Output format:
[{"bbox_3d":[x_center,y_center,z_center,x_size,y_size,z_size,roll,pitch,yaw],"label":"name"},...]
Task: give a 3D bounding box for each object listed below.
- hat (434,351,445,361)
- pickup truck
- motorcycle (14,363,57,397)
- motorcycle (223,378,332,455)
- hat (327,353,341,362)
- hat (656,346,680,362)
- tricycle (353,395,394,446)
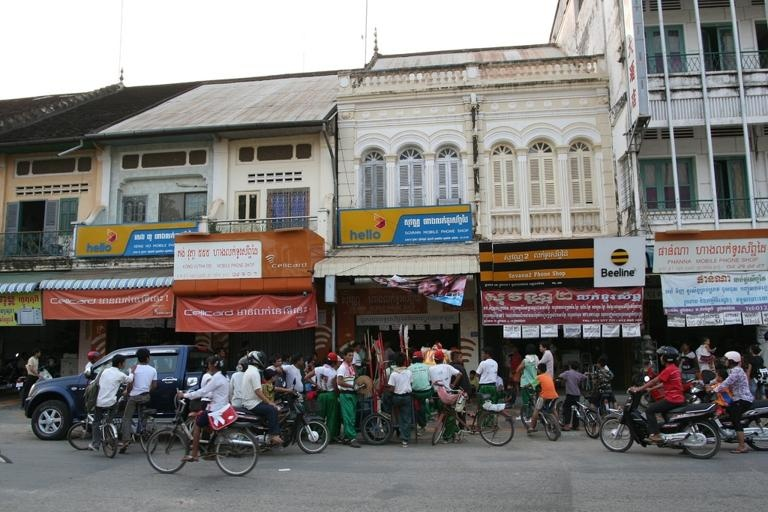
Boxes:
[{"bbox_3d":[1.535,2.801,27.309,0.276,0.300,0.347,0,-8,3],"label":"hat"},{"bbox_3d":[-7.736,3.911,28.667,6.308,2.444,2.299,0,-3,-4],"label":"pickup truck"},{"bbox_3d":[-11.095,3.910,30.822,1.095,1.479,0.574,1,17,-19],"label":"motorcycle"},{"bbox_3d":[-2.679,4.411,25.429,2.380,1.482,1.300,-3,-9,-9],"label":"motorcycle"},{"bbox_3d":[-1.416,2.829,27.191,0.334,0.258,0.652,1,-8,-5],"label":"hat"},{"bbox_3d":[7.552,2.601,25.878,0.398,0.412,1.117,-1,-8,11],"label":"hat"},{"bbox_3d":[-0.190,4.574,27.297,1.254,1.152,1.223,-7,4,24],"label":"tricycle"}]
